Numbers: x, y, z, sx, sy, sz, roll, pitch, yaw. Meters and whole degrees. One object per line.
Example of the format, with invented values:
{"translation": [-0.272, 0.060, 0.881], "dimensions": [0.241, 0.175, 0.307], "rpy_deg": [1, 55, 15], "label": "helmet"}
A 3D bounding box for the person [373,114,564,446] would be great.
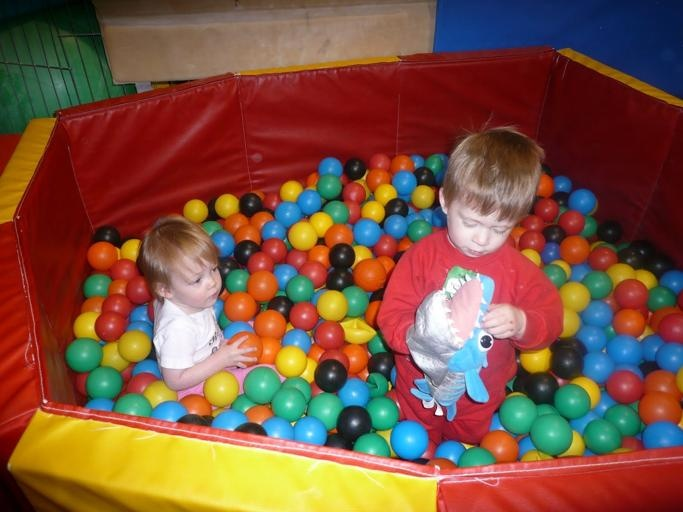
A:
{"translation": [0.553, 0.383, 2.628], "dimensions": [0.681, 1.792, 0.703], "rpy_deg": [-3, 33, -7], "label": "person"}
